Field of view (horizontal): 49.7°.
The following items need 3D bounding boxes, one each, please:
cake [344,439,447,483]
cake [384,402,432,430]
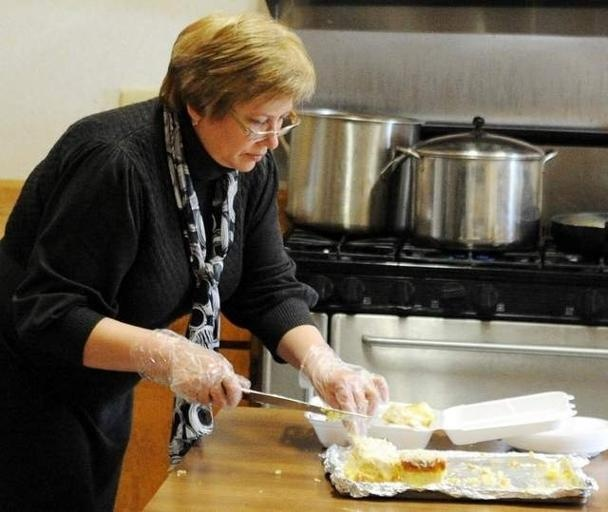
[{"bbox_3d":[0.174,0.376,1.256,0.132,0.046,0.091,0,2,6],"label":"cake"},{"bbox_3d":[0.231,0.338,1.411,0.069,0.028,0.065,1,0,-22],"label":"cake"}]
